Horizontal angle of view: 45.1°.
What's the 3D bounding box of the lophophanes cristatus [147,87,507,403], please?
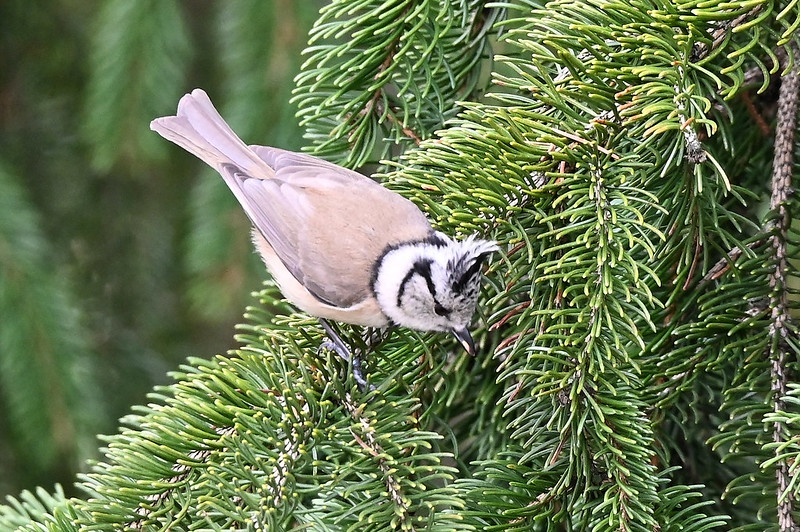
[{"bbox_3d":[-0.293,-0.116,4.107,1.343,0.773,0.443,43,65,-2],"label":"lophophanes cristatus"}]
